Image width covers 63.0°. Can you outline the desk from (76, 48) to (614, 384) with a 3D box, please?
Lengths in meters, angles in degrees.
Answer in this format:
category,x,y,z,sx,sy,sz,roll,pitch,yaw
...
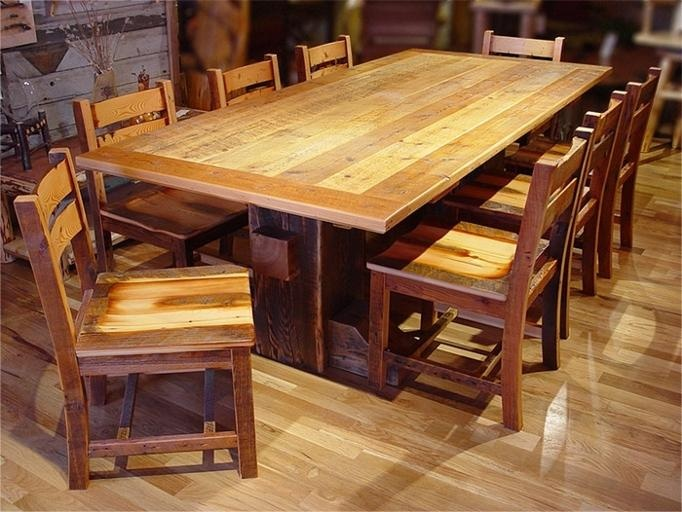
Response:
category,x,y,z,sx,sy,sz,roll,pitch,yaw
desk,0.174,-0.353,2.674,1.202,0.785,1.880,20,40,22

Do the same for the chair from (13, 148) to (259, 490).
category,x,y,z,sx,sy,sz,roll,pitch,yaw
chair,-0.630,0.191,1.815,0.667,1.008,0.672,-5,32,-8

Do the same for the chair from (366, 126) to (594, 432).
category,x,y,z,sx,sy,sz,roll,pitch,yaw
chair,0.515,0.059,2.063,0.675,0.995,0.609,16,35,24
